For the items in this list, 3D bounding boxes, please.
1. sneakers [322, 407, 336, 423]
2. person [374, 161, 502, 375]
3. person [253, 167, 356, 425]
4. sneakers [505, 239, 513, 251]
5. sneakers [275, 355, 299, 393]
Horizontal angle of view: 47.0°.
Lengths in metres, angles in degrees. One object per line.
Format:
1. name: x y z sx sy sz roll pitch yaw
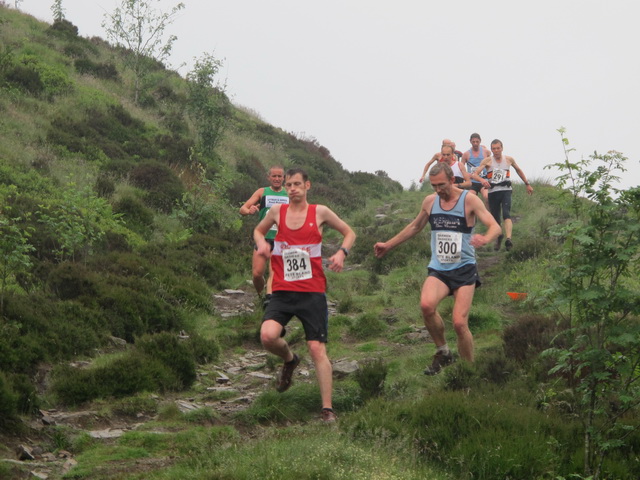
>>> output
1. sneakers: 0.106 2.298 9.558 0.168 0.136 0.187 7 -53 10
2. person: 1.836 0.403 10.528 1.492 2.972 0.981 -4 -10 17
3. person: -0.207 0.748 10.007 1.131 3.354 0.568 -3 -10 10
4. sneakers: 4.157 0.127 16.200 0.110 0.337 0.134 -3 4 14
5. sneakers: -0.449 1.902 10.308 0.186 0.621 0.263 15 -1 19
